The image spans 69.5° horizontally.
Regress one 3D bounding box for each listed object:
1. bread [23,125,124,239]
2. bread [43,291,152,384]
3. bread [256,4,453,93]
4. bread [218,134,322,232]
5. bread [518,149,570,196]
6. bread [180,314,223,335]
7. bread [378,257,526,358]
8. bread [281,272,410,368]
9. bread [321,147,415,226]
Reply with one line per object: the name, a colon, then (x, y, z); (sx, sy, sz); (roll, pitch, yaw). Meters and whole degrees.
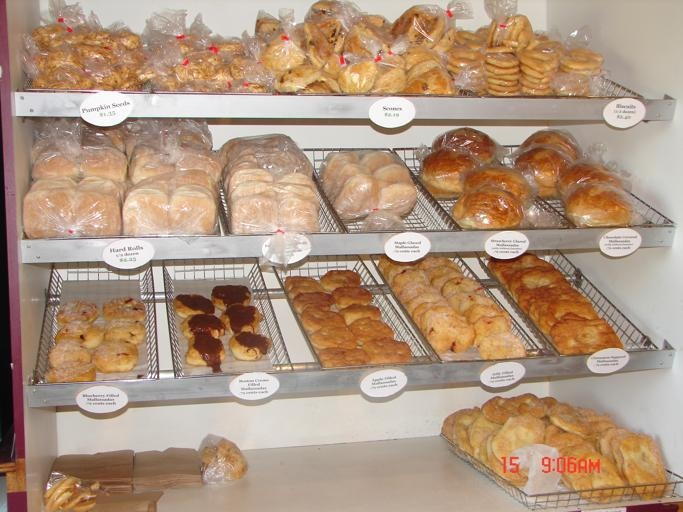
bread: (-0.803, -0.211, 1.458); (0.276, 0.450, 0.103); (-4, -48, -10)
bread: (-0.828, 0.271, 1.678); (0.222, 0.317, 0.042); (-2, -65, -12)
bread: (0.042, -0.627, 1.669); (0.613, 0.379, 0.159); (-1, -41, -5)
bread: (-0.254, -0.233, 1.661); (0.278, 0.433, 0.101); (-4, -52, -15)
bread: (0.765, -0.341, 1.951); (0.217, 0.187, 0.140); (9, -46, 13)
bread: (-0.497, 0.247, 1.777); (0.101, 0.085, 0.024); (7, -71, -2)
bread: (0.397, 0.141, 1.837); (0.284, 0.521, 0.079); (-6, -64, -17)
bread: (0.000, 0.235, 1.839); (0.245, 0.465, 0.065); (-3, -65, -15)
bread: (0.072, -0.265, 1.815); (0.321, 0.308, 0.100); (-6, -52, -11)
